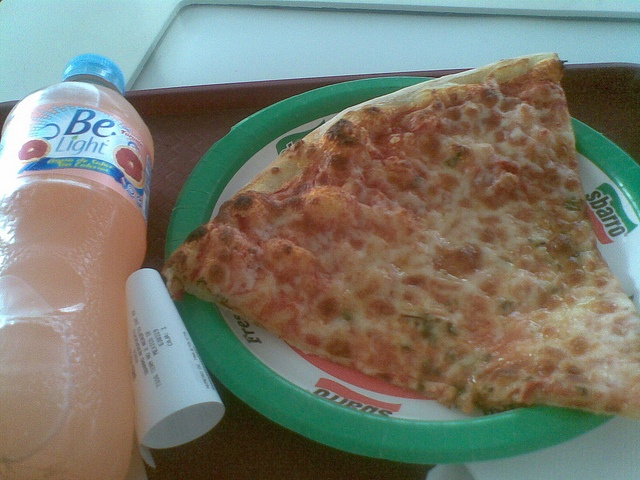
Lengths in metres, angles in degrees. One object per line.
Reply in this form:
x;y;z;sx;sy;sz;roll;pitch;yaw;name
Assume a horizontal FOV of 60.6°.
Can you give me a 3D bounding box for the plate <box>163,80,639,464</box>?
0.126;-0.002;0.792;0.680;0.167;0.581;12;78;4;plate
